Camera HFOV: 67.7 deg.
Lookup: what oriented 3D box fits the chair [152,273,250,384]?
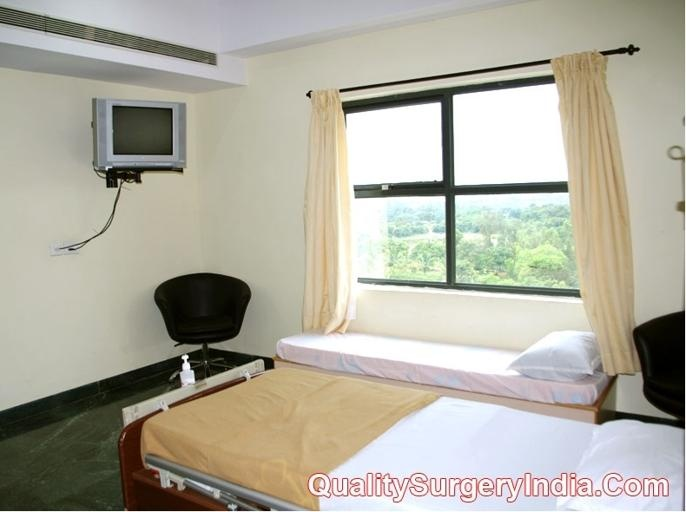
[{"bbox_3d":[-1.400,0.715,5.183,0.909,0.958,0.814,-1,8,-12],"label":"chair"}]

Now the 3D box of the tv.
[{"bbox_3d":[-1.840,-1.097,4.582,0.623,0.486,0.339,-7,11,-44],"label":"tv"}]

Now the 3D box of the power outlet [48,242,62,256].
[{"bbox_3d":[-2.571,-0.061,4.590,0.012,0.109,0.099,5,10,36],"label":"power outlet"}]
